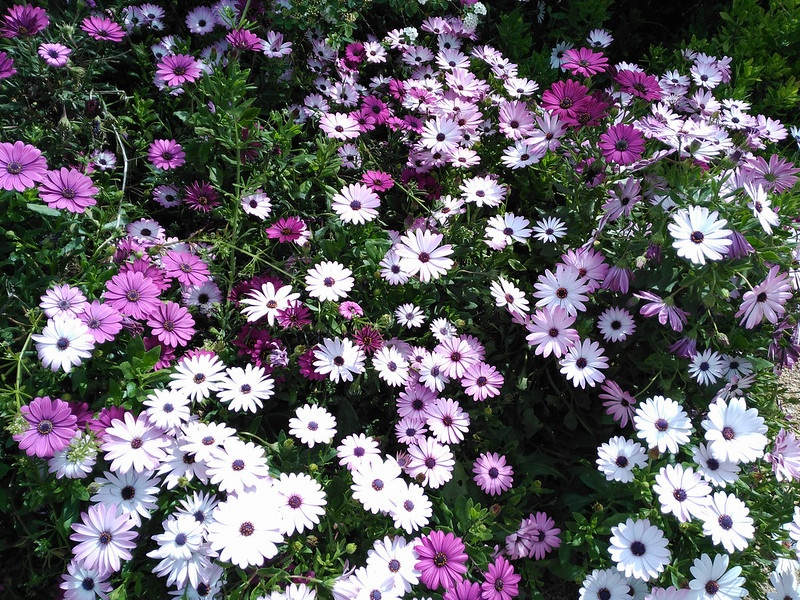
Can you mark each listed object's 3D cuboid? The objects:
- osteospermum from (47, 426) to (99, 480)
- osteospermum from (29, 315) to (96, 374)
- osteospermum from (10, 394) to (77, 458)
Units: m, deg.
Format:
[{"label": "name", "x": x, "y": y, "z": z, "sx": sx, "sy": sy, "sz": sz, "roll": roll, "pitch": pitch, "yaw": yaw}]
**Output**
[{"label": "osteospermum", "x": -1.200, "y": 0.581, "z": 2.724, "sx": 0.163, "sy": 0.061, "sz": 0.184, "roll": 30, "pitch": 93, "yaw": 21}, {"label": "osteospermum", "x": -1.252, "y": 0.163, "z": 2.720, "sx": 0.176, "sy": 0.050, "sz": 0.233, "roll": 0, "pitch": 73, "yaw": -10}, {"label": "osteospermum", "x": -1.296, "y": 0.475, "z": 2.711, "sx": 0.201, "sy": 0.176, "sz": 0.222, "roll": 2, "pitch": 84, "yaw": -1}]
